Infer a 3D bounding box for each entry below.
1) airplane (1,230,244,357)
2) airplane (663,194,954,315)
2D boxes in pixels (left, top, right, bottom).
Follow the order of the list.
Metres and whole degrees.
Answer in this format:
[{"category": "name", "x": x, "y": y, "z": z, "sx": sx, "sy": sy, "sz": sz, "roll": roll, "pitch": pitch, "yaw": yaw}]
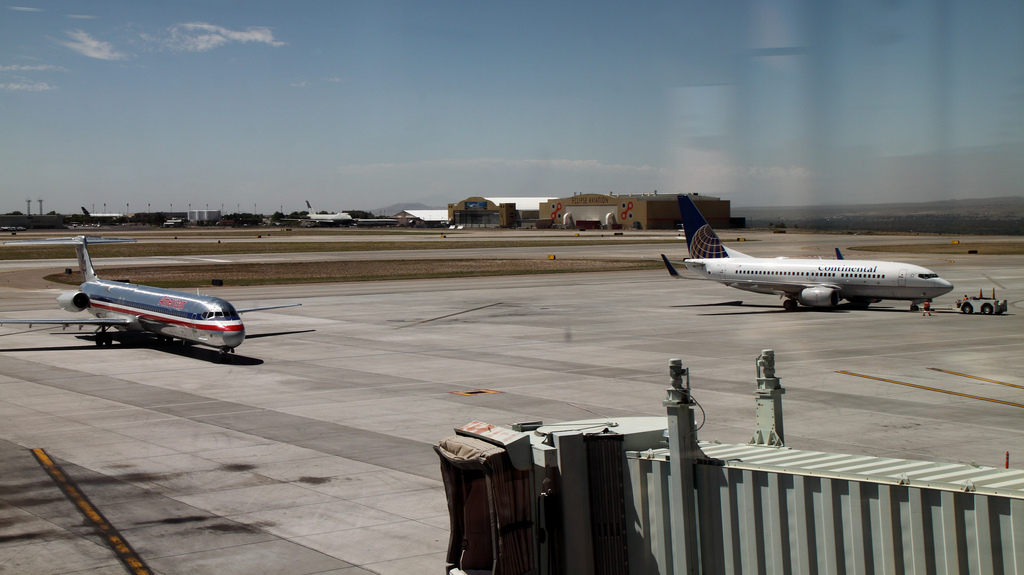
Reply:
[{"category": "airplane", "x": -26.586, "y": 0.353, "z": 54.821, "sx": 21.531, "sy": 7.766, "sz": 4.687, "roll": 3, "pitch": 8, "yaw": 44}, {"category": "airplane", "x": 26.984, "y": -1.109, "z": 69.623, "sx": 19.708, "sy": 5.428, "sz": 19.121, "roll": 1, "pitch": 4, "yaw": 44}]
